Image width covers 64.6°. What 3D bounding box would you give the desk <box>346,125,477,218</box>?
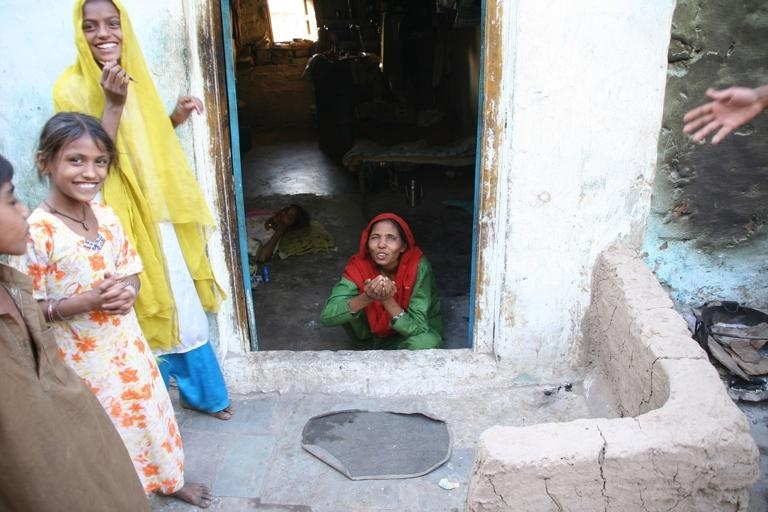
[{"bbox_3d":[0.287,-1.053,7.144,1.502,0.627,1.243,-1,27,1],"label":"desk"}]

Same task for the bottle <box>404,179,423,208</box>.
[{"bbox_3d":[0.344,-0.746,6.941,0.146,0.143,0.394,0,29,3],"label":"bottle"}]

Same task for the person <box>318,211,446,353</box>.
[{"bbox_3d":[0.000,0.312,4.237,0.796,1.095,0.788,4,29,11],"label":"person"}]
